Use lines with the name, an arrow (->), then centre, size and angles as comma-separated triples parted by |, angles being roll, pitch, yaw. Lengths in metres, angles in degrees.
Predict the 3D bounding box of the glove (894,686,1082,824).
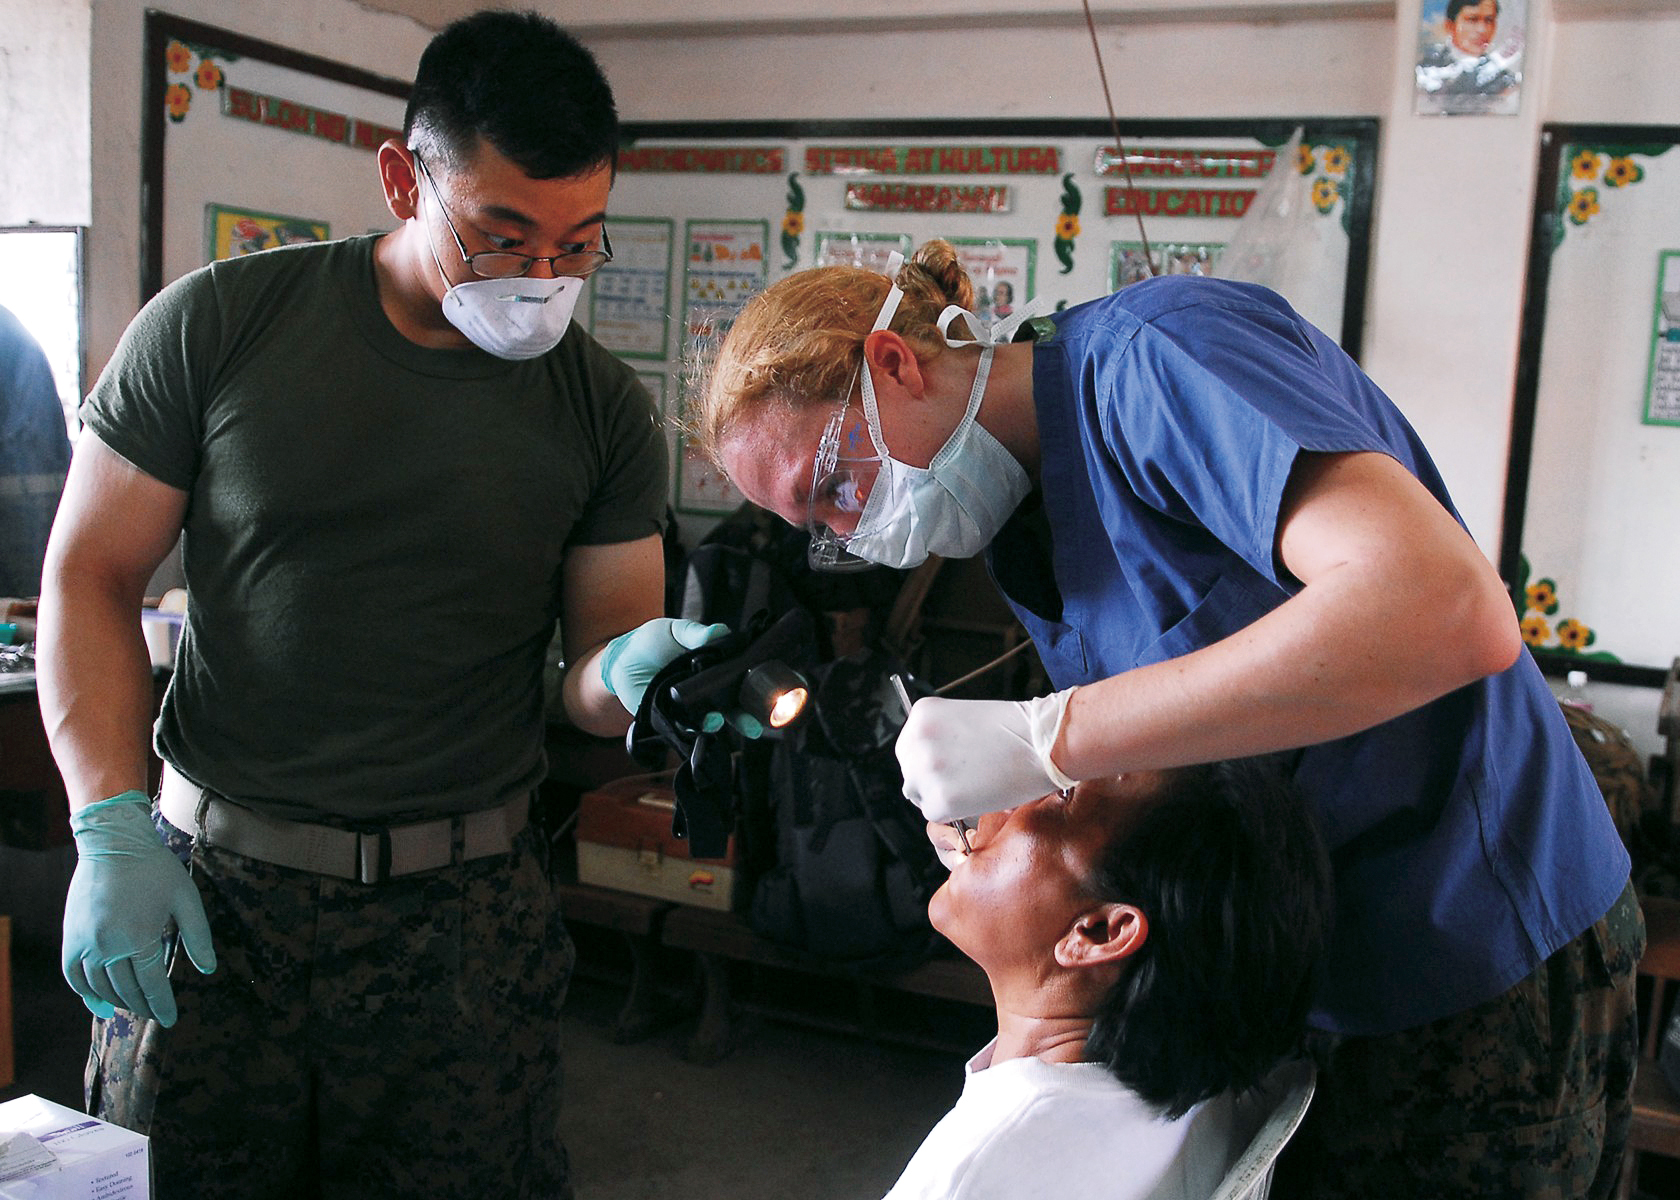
glove -> 0.178, 0.192, 1.738 | 0.144, 0.196, 0.194 | 0, 8, -27
